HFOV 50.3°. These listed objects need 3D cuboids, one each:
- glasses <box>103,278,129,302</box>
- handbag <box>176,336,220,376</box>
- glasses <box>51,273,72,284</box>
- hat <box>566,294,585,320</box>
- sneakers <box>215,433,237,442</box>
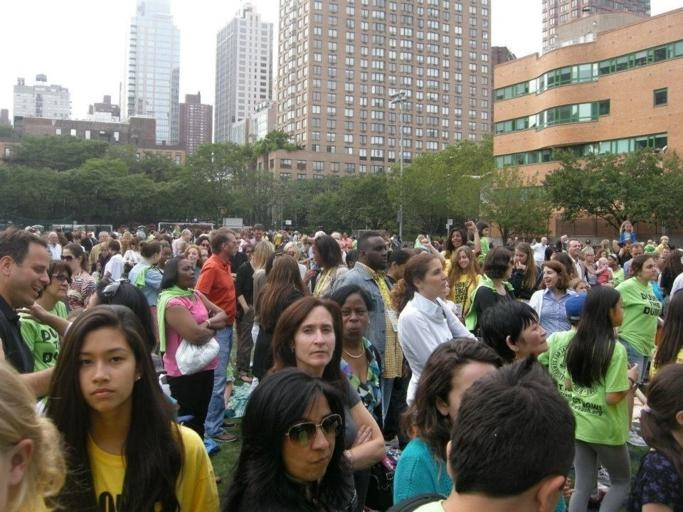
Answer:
[{"bbox_3d":[-1.946,0.282,6.260,0.148,0.102,0.307,-26,8,9],"label":"glasses"},{"bbox_3d":[-1.397,0.966,7.020,0.188,0.355,0.374,-3,6,40],"label":"handbag"},{"bbox_3d":[-2.597,0.207,6.756,0.147,0.050,0.150,-1,-10,21],"label":"glasses"},{"bbox_3d":[2.281,0.473,7.100,0.178,0.168,0.287,7,40,25],"label":"hat"},{"bbox_3d":[-1.295,2.051,8.192,0.228,0.095,0.094,0,0,4],"label":"sneakers"}]
